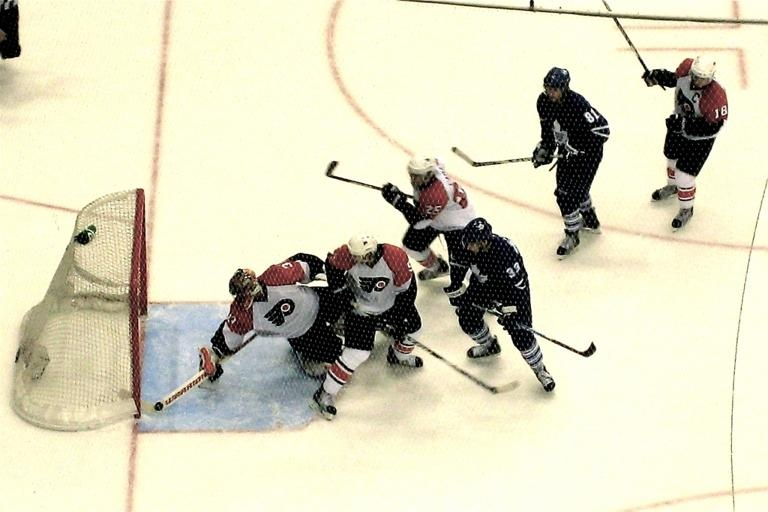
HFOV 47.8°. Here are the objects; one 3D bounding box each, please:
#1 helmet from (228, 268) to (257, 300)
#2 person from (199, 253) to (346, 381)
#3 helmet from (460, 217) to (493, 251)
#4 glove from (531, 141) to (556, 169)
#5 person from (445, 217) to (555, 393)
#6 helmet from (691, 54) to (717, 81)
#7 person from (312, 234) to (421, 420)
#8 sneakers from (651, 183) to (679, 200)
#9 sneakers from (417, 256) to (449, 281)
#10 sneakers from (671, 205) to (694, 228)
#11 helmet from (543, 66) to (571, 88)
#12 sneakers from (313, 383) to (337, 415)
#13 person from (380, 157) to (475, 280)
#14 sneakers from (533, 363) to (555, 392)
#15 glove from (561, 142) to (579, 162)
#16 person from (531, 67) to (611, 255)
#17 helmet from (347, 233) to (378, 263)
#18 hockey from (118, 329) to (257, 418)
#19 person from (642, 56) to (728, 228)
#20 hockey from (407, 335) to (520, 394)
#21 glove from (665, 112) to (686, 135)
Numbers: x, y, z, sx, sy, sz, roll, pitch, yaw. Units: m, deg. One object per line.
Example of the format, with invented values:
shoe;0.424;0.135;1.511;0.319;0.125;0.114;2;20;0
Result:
helmet;-0.944;0.196;5.788;0.183;0.214;0.104;-2;22;-10
person;-0.811;0.476;6.105;0.967;0.322;0.843;-7;10;46
helmet;0.657;-0.151;6.146;0.219;0.160;0.314;4;21;5
glove;1.268;-0.776;6.871;0.160;0.181;0.199;-6;39;11
person;0.820;0.417;6.312;0.758;1.200;0.513;27;52;35
helmet;2.456;-1.414;6.683;0.200;0.182;0.234;30;17;18
person;-0.135;0.554;6.088;0.683;1.144;0.978;10;38;14
sneakers;2.367;-0.524;7.302;0.253;0.102;0.098;-19;54;8
sneakers;0.411;0.114;6.818;0.291;0.209;0.111;-9;56;15
sneakers;2.451;-0.308;7.112;0.108;0.096;0.226;-19;15;44
helmet;1.301;-1.342;6.595;0.147;0.175;0.195;20;19;25
sneakers;-0.415;1.029;6.067;0.112;0.161;0.235;-17;53;-29
person;0.349;-0.258;6.494;0.655;1.172;0.509;-7;34;-2
sneakers;1.139;0.876;6.201;0.200;0.066;0.085;59;17;21
glove;1.450;-0.801;6.755;0.124;0.092;0.040;32;-12;-4
person;1.475;-0.736;6.851;0.598;1.458;0.331;4;22;7
helmet;-0.135;-0.050;5.780;0.190;0.165;0.176;2;7;-41
hockey;-1.391;0.856;6.124;1.004;0.151;0.078;-38;40;-28
person;2.411;-0.904;6.995;0.360;1.376;0.580;-16;27;-37
hockey;0.593;0.831;6.153;1.010;0.332;0.038;29;60;1
glove;2.309;-1.035;6.885;0.148;0.113;0.123;-7;25;-20
